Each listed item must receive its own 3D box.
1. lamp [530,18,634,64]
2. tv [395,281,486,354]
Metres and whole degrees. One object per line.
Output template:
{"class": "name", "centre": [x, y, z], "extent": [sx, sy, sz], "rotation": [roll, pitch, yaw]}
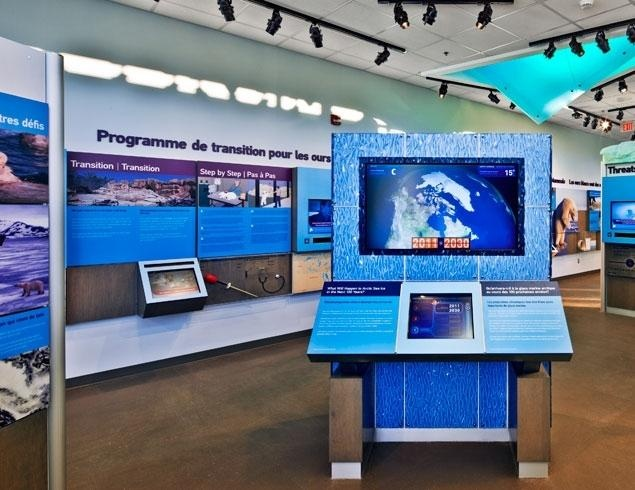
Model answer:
{"class": "lamp", "centre": [2.992, -2.358, 5.341], "extent": [1.093, 0.357, 0.575], "rotation": [6, 12, 31]}
{"class": "tv", "centre": [0.871, 0.508, 3.284], "extent": [0.598, 0.393, 0.502], "rotation": [1, 10, 10]}
